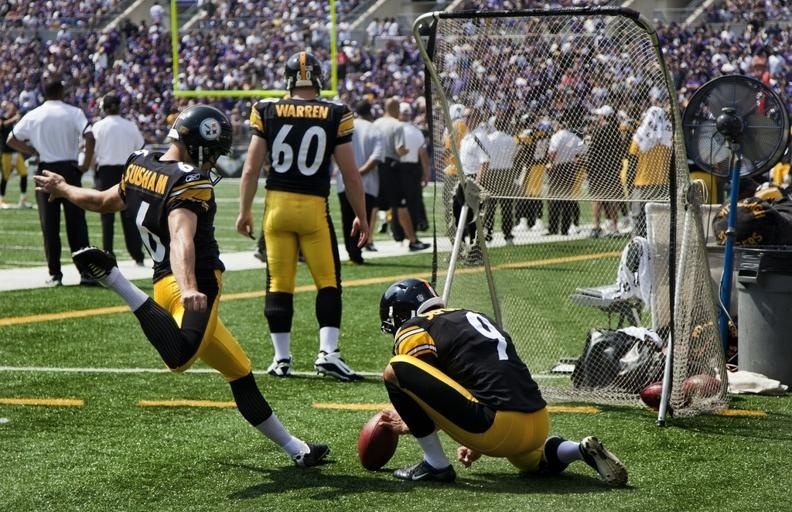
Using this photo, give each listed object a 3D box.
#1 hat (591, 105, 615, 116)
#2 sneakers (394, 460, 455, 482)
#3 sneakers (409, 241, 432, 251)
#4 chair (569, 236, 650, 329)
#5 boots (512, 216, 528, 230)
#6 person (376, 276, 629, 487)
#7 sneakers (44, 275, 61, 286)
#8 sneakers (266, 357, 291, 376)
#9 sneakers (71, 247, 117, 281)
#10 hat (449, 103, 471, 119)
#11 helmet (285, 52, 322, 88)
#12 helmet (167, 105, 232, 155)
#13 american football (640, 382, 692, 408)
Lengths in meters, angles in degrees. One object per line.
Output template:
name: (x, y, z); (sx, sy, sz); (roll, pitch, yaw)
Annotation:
hat: (1.718, -1.213, 9.312); (0.056, 0.092, 0.207); (-11, 18, -38)
sneakers: (0.203, 1.546, 7.996); (0.418, 0.171, 0.160); (4, -16, 7)
sneakers: (0.375, -0.130, 15.978); (0.367, 0.183, 0.127); (-3, 14, 12)
chair: (1.837, 0.259, 9.449); (0.567, 0.831, 0.480); (-1, 2, -13)
boots: (1.103, -0.277, 9.931); (0.122, 0.112, 0.043); (-1, 13, -2)
person: (0.644, 0.941, 7.881); (1.034, 1.168, 1.636); (-4, 7, -40)
sneakers: (-3.980, 0.298, 12.992); (0.161, 0.100, 0.079); (-13, 1, -19)
sneakers: (-1.022, 0.973, 9.773); (0.140, 0.130, 0.290); (1, 2, -4)
sneakers: (-2.083, 0.054, 7.866); (0.355, 0.181, 0.152); (21, -47, -35)
hat: (0.523, -1.214, 9.418); (0.105, 0.053, 0.149); (6, -3, 33)
helmet: (-0.806, -1.603, 9.727); (0.245, 0.294, 0.331); (0, 23, 2)
helmet: (-1.417, -0.881, 8.046); (0.400, 0.365, 0.311); (6, 19, -18)
american football: (2.123, 1.099, 8.816); (0.310, 0.211, 0.203); (-6, 25, 3)
